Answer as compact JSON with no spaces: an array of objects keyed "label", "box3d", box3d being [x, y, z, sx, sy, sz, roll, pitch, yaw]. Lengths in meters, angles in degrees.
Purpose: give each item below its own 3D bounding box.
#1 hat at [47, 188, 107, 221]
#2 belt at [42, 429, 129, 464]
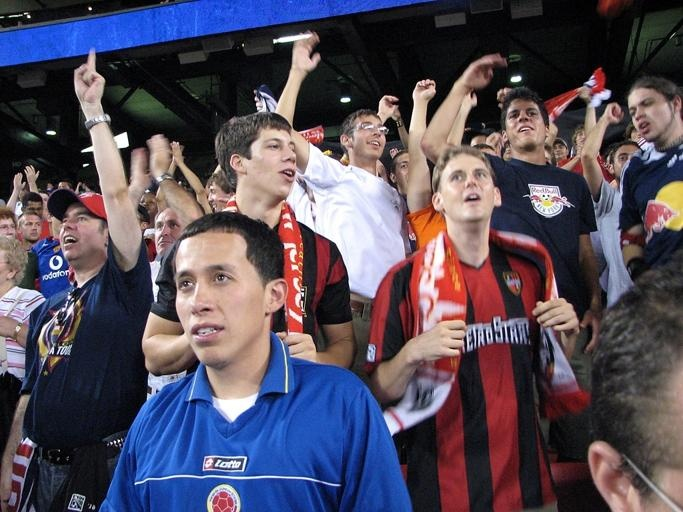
[{"label":"hat","box3d":[-1.701,-0.319,3.691,0.346,0.226,0.297,-6,-4,-18]},{"label":"belt","box3d":[-1.384,1.033,3.104,0.339,0.095,0.323,-15,-14,32]}]
